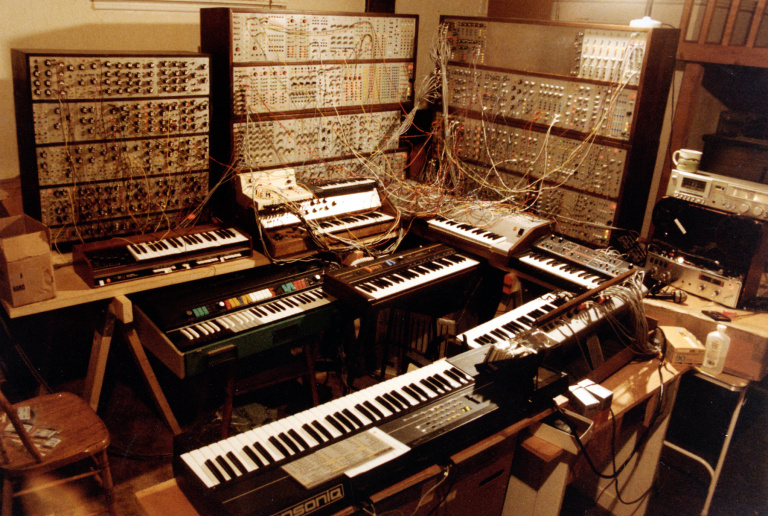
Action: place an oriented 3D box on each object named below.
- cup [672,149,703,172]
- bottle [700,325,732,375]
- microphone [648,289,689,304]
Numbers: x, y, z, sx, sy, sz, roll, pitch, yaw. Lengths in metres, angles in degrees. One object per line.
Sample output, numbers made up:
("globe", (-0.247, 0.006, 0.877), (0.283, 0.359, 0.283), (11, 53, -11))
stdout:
("cup", (2.536, -0.812, 4.586), (0.177, 0.155, 0.188), (-3, 27, 2))
("bottle", (2.481, 0.671, 4.076), (0.143, 0.373, 0.217), (18, 34, 36))
("microphone", (2.359, 0.312, 4.529), (0.218, 0.144, 0.093), (9, 64, 6))
